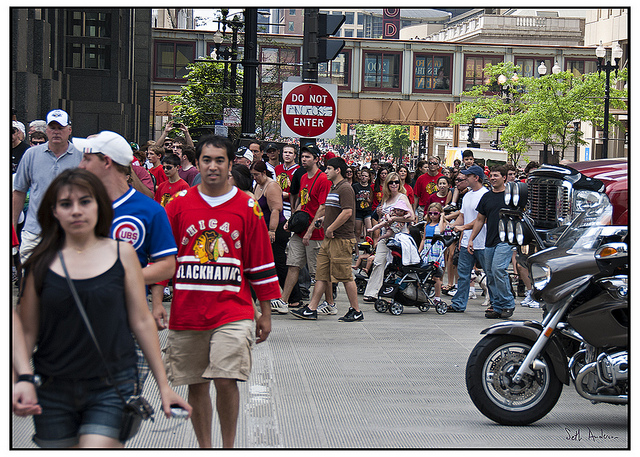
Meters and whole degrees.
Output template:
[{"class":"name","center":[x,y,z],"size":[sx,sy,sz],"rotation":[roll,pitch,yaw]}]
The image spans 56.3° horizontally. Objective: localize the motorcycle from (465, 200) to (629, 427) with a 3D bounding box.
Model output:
[{"class":"motorcycle","center":[2.186,0.808,5.676],"size":[1.287,2.121,0.595],"rotation":[3,5,15]}]

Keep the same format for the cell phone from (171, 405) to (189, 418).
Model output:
[{"class":"cell phone","center":[-0.824,1.077,3.535],"size":[0.058,0.054,0.099],"rotation":[30,-7,-12]}]

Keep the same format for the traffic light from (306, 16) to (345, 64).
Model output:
[{"class":"traffic light","center":[0.090,-3.562,11.158],"size":[0.739,0.869,0.378],"rotation":[2,4,7]}]

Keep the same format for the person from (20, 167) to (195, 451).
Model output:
[{"class":"person","center":[-1.300,0.524,3.500],"size":[0.815,1.751,0.463],"rotation":[0,5,-24]}]
